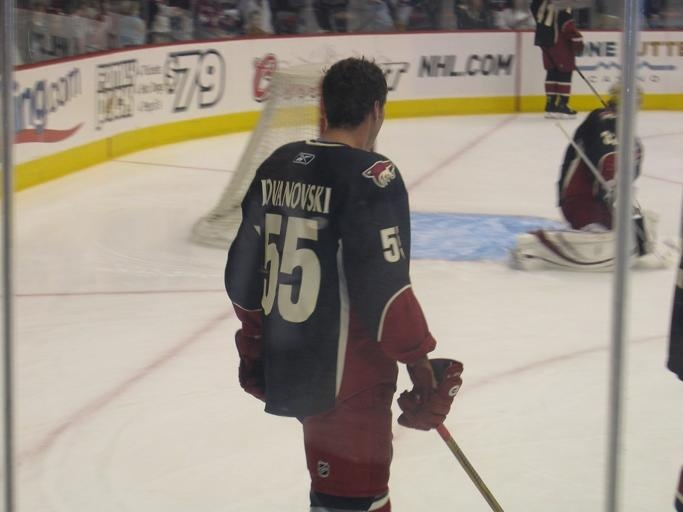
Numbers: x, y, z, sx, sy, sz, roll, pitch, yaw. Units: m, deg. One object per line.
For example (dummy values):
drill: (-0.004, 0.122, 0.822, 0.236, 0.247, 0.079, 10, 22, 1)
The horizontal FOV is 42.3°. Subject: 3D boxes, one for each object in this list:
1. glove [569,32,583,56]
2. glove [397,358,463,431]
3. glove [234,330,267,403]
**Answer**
glove: (0.735, -0.659, 2.744, 0.050, 0.065, 0.067, 6, 43, 8)
glove: (0.252, 0.414, 2.870, 0.292, 0.285, 0.201, -1, 1, 0)
glove: (-0.291, 0.350, 2.806, 0.151, 0.191, 0.076, 6, 1, 37)
